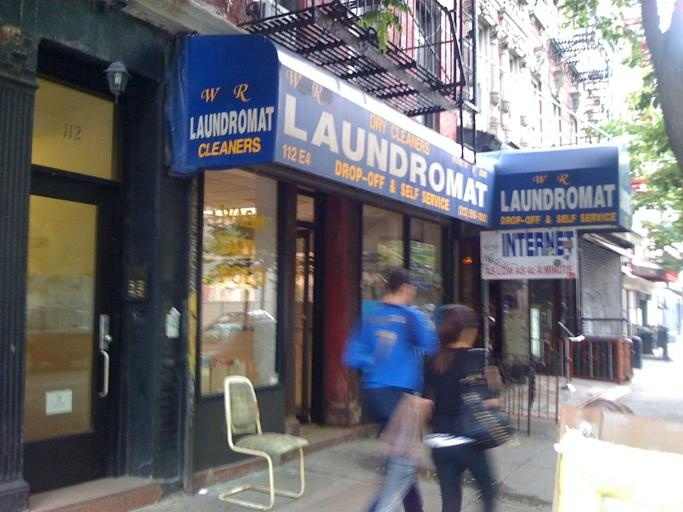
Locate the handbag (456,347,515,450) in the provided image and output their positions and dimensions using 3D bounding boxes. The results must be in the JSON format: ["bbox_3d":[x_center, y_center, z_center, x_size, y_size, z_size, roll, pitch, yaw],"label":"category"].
[{"bbox_3d":[1.319,1.227,5.787,0.209,0.747,0.698,5,-8,-19],"label":"handbag"}]

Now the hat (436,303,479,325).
[{"bbox_3d":[1.098,0.558,6.463,0.510,0.205,0.540,0,-12,9],"label":"hat"}]

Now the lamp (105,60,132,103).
[{"bbox_3d":[-2.257,-1.761,6.838,0.246,0.386,0.244,5,-2,-30],"label":"lamp"}]
